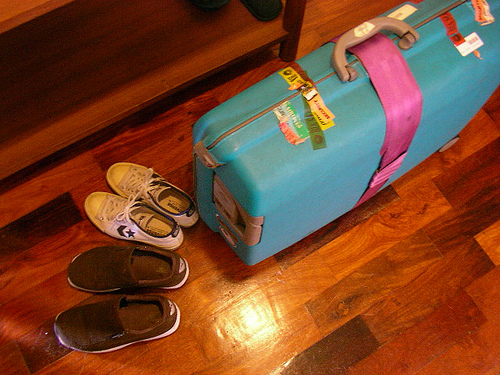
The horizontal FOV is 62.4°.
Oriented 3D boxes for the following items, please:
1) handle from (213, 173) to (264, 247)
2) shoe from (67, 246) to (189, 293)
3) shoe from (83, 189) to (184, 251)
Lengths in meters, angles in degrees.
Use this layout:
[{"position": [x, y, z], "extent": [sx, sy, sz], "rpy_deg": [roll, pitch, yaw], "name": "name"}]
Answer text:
[{"position": [-0.030, 0.055, 1.150], "extent": [0.087, 0.239, 0.150], "rpy_deg": [-42, 86, -7], "name": "handle"}, {"position": [-0.425, 0.262, 1.396], "extent": [0.412, 0.153, 0.157], "rpy_deg": [-4, 66, -1], "name": "shoe"}, {"position": [-0.411, 0.110, 1.461], "extent": [0.394, 0.118, 0.158], "rpy_deg": [18, 41, 14], "name": "shoe"}]
